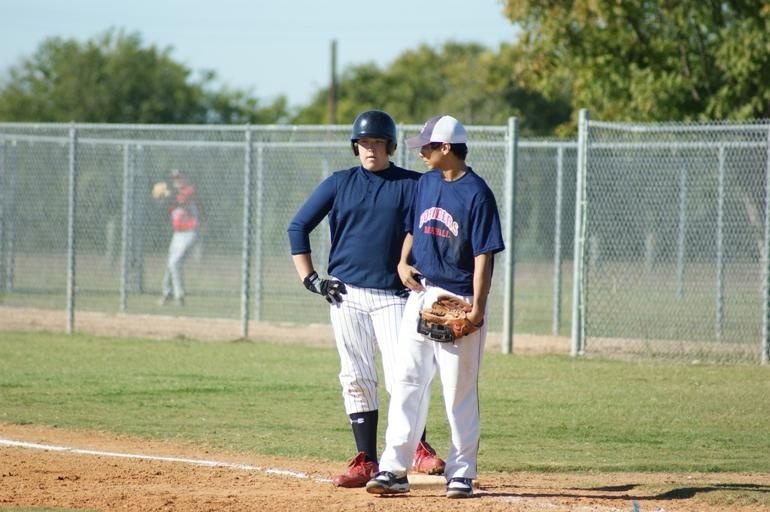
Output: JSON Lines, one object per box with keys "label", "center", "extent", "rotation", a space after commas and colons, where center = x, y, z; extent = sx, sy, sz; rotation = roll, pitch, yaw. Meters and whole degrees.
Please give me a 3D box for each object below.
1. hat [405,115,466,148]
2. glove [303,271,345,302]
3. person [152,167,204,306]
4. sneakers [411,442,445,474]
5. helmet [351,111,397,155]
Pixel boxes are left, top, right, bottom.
{"label": "hat", "center": [0.607, -1.514, 21.764], "extent": [0.565, 0.322, 0.377], "rotation": [3, 8, 11]}
{"label": "glove", "center": [-0.763, 0.353, 22.079], "extent": [0.470, 0.133, 0.324], "rotation": [29, -46, -14]}
{"label": "person", "center": [-3.070, -0.278, 26.586], "extent": [0.654, 1.995, 0.229], "rotation": [0, 2, 23]}
{"label": "sneakers", "center": [0.525, 2.542, 22.381], "extent": [0.220, 0.284, 0.590], "rotation": [4, -8, -27]}
{"label": "helmet", "center": [-0.142, -1.554, 22.015], "extent": [0.452, 0.450, 0.533], "rotation": [-1, -10, 7]}
